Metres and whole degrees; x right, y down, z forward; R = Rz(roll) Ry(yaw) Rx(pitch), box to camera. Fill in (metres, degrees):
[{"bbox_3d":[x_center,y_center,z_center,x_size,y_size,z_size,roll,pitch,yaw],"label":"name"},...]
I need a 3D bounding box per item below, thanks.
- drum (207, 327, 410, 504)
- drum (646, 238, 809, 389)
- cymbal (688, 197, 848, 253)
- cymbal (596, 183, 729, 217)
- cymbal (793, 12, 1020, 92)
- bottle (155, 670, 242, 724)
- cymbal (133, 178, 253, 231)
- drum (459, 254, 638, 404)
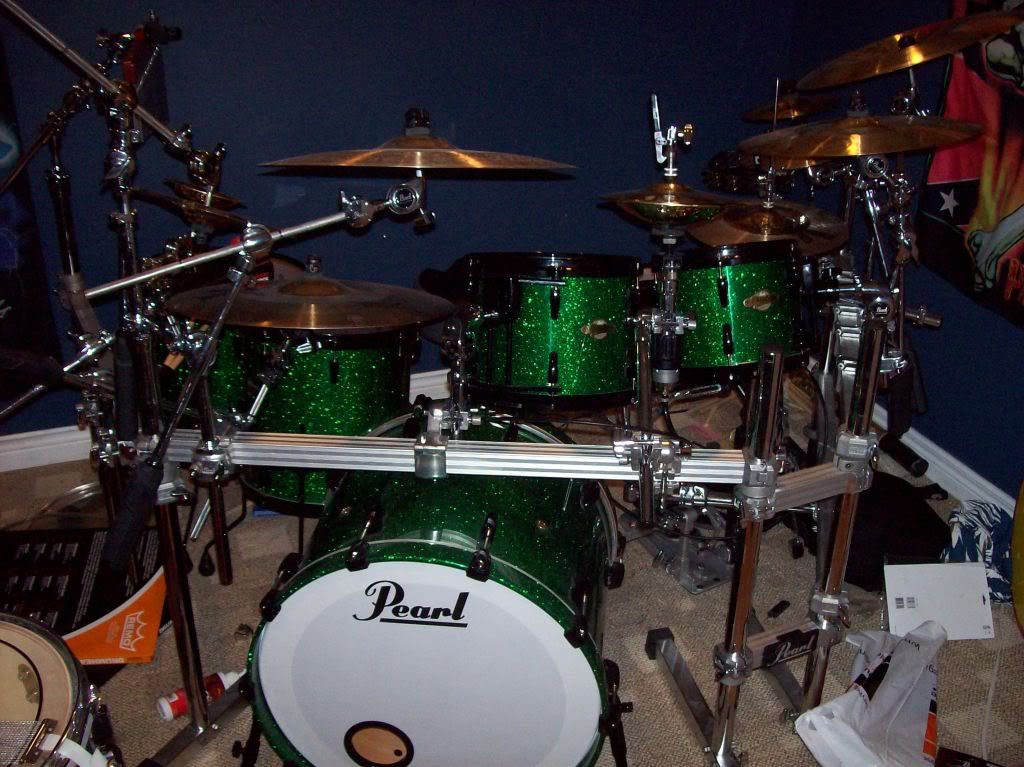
[{"bbox_3d":[-0.686,0.004,2.987,0.599,0.580,0.605,7,42,-6],"label":"drum"},{"bbox_3d":[0.751,-0.197,2.895,0.478,0.511,0.492,-1,3,20],"label":"drum"},{"bbox_3d":[0.961,-0.640,3.150,0.458,0.098,0.478,0,-5,-10],"label":"cymbal"},{"bbox_3d":[0.484,-0.564,2.592,0.318,0.125,0.245,-1,4,-13],"label":"cymbal"},{"bbox_3d":[1.204,-1.006,2.531,0.387,0.069,0.393,-21,17,6],"label":"cymbal"},{"bbox_3d":[-0.874,0.879,2.355,0.056,0.052,0.206,5,17,41],"label":"bottle"},{"bbox_3d":[-1.093,-0.613,2.884,0.321,0.168,0.277,-1,5,-21],"label":"cymbal"},{"bbox_3d":[0.141,-0.192,2.995,0.486,0.397,0.522,0,8,0],"label":"drum"}]
